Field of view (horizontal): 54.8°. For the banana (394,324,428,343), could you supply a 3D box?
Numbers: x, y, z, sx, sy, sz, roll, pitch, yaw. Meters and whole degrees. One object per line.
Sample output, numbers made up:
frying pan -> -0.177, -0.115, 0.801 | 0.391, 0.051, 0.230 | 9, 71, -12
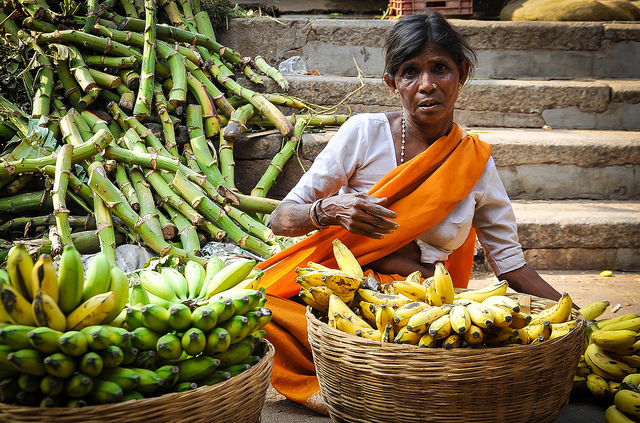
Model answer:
banana -> 0.423, 0.596, 2.941 | 0.172, 0.056, 0.060 | -30, 28, 14

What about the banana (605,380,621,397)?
banana -> 1.607, 0.964, 3.379 | 0.051, 0.095, 0.033 | 2, -13, 27

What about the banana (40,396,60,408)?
banana -> -1.198, 0.846, 2.730 | 0.050, 0.036, 0.061 | -14, 18, -15

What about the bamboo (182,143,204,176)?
bamboo -> -0.982, -0.400, 4.800 | 0.072, 0.272, 0.111 | -29, -13, 22

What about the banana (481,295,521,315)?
banana -> 0.891, 0.451, 3.057 | 0.077, 0.078, 0.224 | -16, 12, -18

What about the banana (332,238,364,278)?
banana -> 0.157, 0.269, 3.491 | 0.089, 0.274, 0.096 | -38, -27, 15

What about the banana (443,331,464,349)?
banana -> 0.631, 0.612, 2.899 | 0.037, 0.055, 0.110 | -8, -3, 36

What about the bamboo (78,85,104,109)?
bamboo -> -1.828, -0.944, 4.992 | 0.089, 0.092, 0.273 | 11, 45, 23

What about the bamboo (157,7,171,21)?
bamboo -> -1.468, -1.861, 5.801 | 0.098, 0.023, 0.094 | 36, -5, 21

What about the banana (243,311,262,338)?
banana -> -0.334, 0.526, 2.971 | 0.047, 0.161, 0.057 | 16, 21, -16

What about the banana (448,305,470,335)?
banana -> 0.685, 0.510, 2.973 | 0.127, 0.096, 0.262 | -7, 12, 14

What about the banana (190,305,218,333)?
banana -> -0.541, 0.495, 2.874 | 0.088, 0.084, 0.134 | 24, -25, 5

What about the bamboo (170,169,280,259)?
bamboo -> -0.733, 0.037, 4.567 | 0.800, 0.138, 0.213 | 40, 29, -6

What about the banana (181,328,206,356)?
banana -> -0.581, 0.603, 2.841 | 0.091, 0.125, 0.078 | -12, 9, -3

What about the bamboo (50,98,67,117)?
bamboo -> -2.082, -0.833, 4.903 | 0.068, 0.060, 0.283 | -33, 46, -3

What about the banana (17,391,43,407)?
banana -> -1.304, 0.843, 2.766 | 0.048, 0.053, 0.159 | -5, -11, 16

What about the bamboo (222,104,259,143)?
bamboo -> -0.664, -0.758, 5.129 | 0.136, 0.156, 0.417 | -37, 19, 38

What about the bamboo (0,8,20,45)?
bamboo -> -2.539, -1.519, 5.037 | 0.073, 0.307, 0.094 | -35, 1, 30

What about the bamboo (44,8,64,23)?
bamboo -> -2.198, -1.613, 5.075 | 0.145, 0.084, 0.065 | 12, 28, -13

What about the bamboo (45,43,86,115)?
bamboo -> -2.044, -1.051, 4.927 | 0.157, 0.595, 0.182 | -19, 7, 18

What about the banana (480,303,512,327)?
banana -> 0.843, 0.485, 2.971 | 0.065, 0.053, 0.191 | -7, 18, -22

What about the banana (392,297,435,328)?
banana -> 0.455, 0.489, 3.081 | 0.122, 0.092, 0.276 | 13, 25, 43

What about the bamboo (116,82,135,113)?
bamboo -> -1.596, -0.929, 5.061 | 0.138, 0.229, 0.101 | -12, -31, -4

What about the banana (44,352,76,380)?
banana -> -1.142, 0.679, 2.718 | 0.137, 0.089, 0.082 | 22, 28, -35

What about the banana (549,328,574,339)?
banana -> 1.190, 0.599, 3.022 | 0.086, 0.028, 0.022 | -19, 39, -14

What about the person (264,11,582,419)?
person -> 0.484, -0.022, 3.650 | 1.533, 2.270, 0.647 | -1, 11, -21

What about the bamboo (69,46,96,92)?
bamboo -> -1.916, -1.138, 4.987 | 0.144, 0.421, 0.131 | -14, -24, -36

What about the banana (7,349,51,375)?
banana -> -1.286, 0.658, 2.714 | 0.208, 0.100, 0.070 | 14, 5, -17

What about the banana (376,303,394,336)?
banana -> 0.313, 0.525, 3.014 | 0.053, 0.165, 0.059 | -1, 23, 13

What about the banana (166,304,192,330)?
banana -> -0.650, 0.486, 2.851 | 0.093, 0.075, 0.124 | 10, -15, 0

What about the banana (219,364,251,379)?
banana -> -0.398, 0.755, 2.958 | 0.194, 0.051, 0.068 | -7, -25, -5

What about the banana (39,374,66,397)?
banana -> -1.185, 0.770, 2.735 | 0.085, 0.107, 0.064 | -19, 52, -7

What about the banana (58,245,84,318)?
banana -> -1.131, 0.313, 2.850 | 0.095, 0.337, 0.118 | -6, 7, -24

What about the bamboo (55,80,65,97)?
bamboo -> -2.110, -1.003, 4.998 | 0.086, 0.099, 0.036 | 0, 11, -12

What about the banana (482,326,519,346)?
banana -> 0.857, 0.590, 2.942 | 0.071, 0.083, 0.250 | 26, -21, -38

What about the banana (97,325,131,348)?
banana -> -0.912, 0.569, 2.825 | 0.101, 0.054, 0.164 | 41, 7, 35

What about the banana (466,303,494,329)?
banana -> 0.758, 0.482, 2.906 | 0.070, 0.053, 0.139 | -23, 26, -10

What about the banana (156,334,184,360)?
banana -> -0.682, 0.629, 2.898 | 0.095, 0.094, 0.127 | 9, -1, 22

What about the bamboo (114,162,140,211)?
bamboo -> -1.424, -0.179, 4.553 | 0.120, 0.396, 0.096 | -40, -14, 20

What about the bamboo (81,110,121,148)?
bamboo -> -1.680, -0.626, 4.713 | 0.441, 0.116, 0.103 | 40, 68, 21

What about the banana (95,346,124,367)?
banana -> -0.937, 0.649, 2.760 | 0.107, 0.062, 0.079 | 0, -8, -15

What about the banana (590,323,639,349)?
banana -> 1.612, 0.700, 3.360 | 0.228, 0.126, 0.085 | 7, 11, 24

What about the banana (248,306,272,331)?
banana -> -0.268, 0.517, 3.012 | 0.113, 0.052, 0.159 | -2, -27, -10

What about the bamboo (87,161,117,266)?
bamboo -> -1.589, -0.128, 4.425 | 0.153, 0.132, 0.829 | -14, 43, -10

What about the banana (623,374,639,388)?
banana -> 1.670, 0.898, 3.290 | 0.092, 0.050, 0.058 | -2, 11, -26
